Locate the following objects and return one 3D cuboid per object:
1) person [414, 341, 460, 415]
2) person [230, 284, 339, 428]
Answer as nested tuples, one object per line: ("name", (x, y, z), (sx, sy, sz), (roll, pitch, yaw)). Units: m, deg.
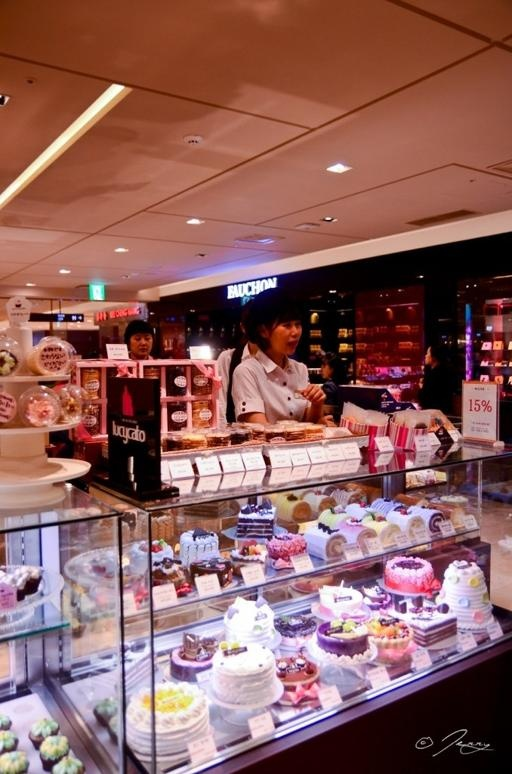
("person", (2.171, -0.097, 6.528), (0.191, 0.783, 0.543), (2, 14, -34))
("person", (0.129, -0.055, 2.648), (0.463, 0.842, 0.568), (5, 6, 36))
